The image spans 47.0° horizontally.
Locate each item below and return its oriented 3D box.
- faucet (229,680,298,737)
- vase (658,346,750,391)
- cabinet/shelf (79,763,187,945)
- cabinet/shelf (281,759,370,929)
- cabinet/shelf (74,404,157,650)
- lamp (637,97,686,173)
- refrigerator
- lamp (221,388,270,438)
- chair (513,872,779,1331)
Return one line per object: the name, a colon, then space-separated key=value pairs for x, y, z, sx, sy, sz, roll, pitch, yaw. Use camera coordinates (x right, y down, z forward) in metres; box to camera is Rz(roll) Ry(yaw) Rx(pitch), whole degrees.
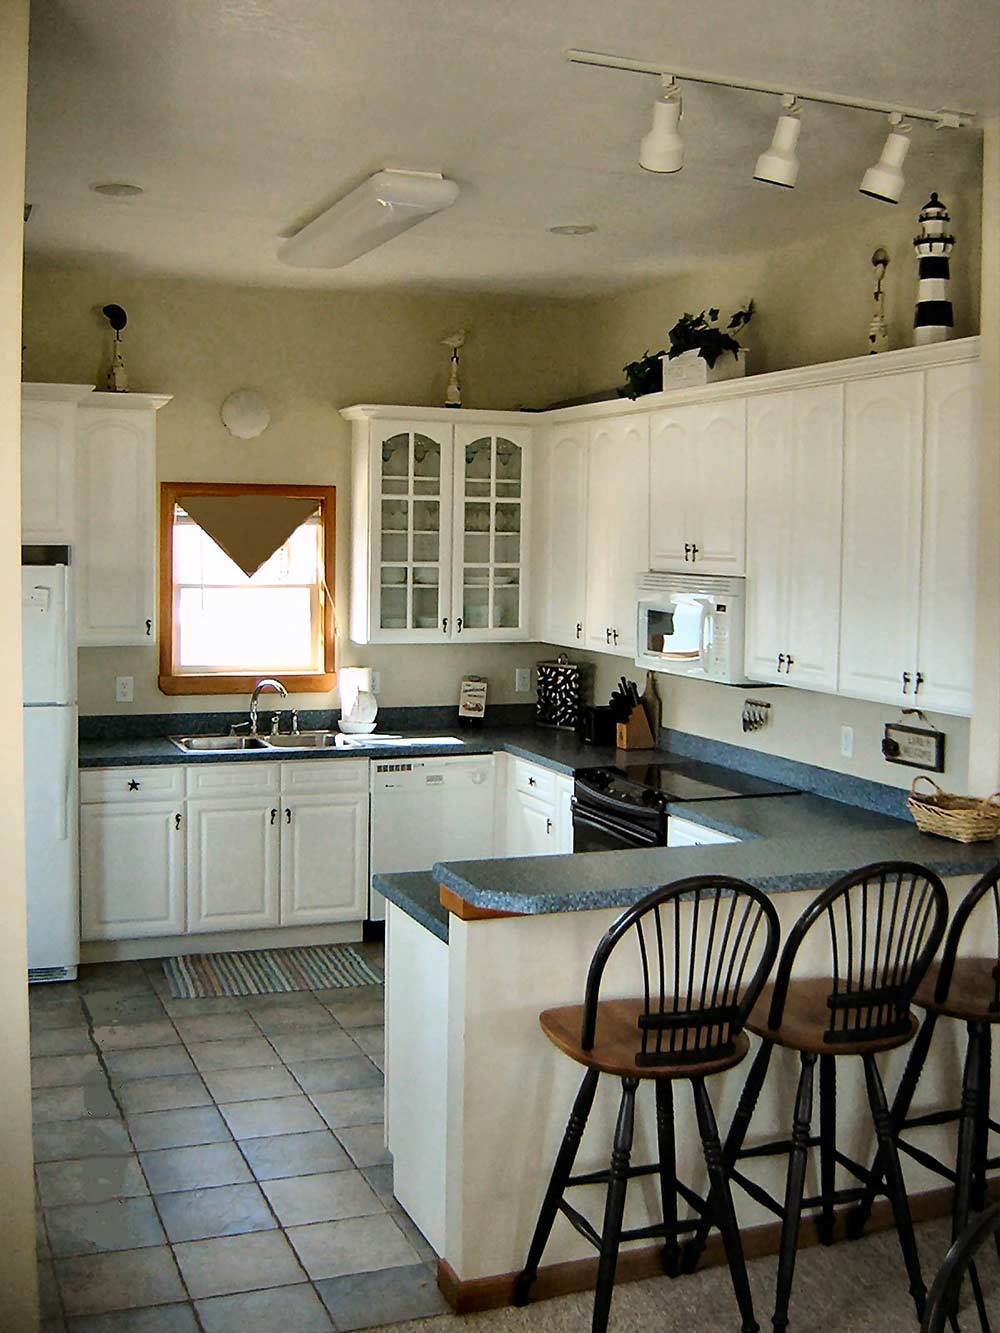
faucet: x=-1.193 y=0.211 z=5.682 sx=0.278 sy=0.257 sz=0.140 roll=-4 pitch=7 yaw=-34
vase: x=0.805 y=-1.164 z=4.545 sx=0.195 sy=0.170 sz=0.384 roll=-1 pitch=2 yaw=-23
cabinet/shelf: x=-1.633 y=0.852 z=5.164 sx=0.534 sy=0.751 sz=0.515 roll=1 pitch=-14 yaw=-24
cabinet/shelf: x=-0.896 y=0.840 z=5.443 sx=0.564 sy=0.816 sz=0.550 roll=-1 pitch=-8 yaw=-3
cabinet/shelf: x=-1.715 y=-0.659 z=5.143 sx=0.365 sy=1.111 sz=0.113 roll=-1 pitch=2 yaw=-19
lamp: x=0.370 y=-1.235 z=2.653 sx=0.086 sy=0.203 sz=0.187 roll=-1 pitch=2 yaw=7
refrigerator: x=-1.826 y=0.419 z=4.655 sx=0.202 sy=1.794 sz=0.213 roll=-1 pitch=2 yaw=-22
lamp: x=-1.242 y=-1.233 z=5.596 sx=0.238 sy=0.240 sz=0.093 roll=-1 pitch=2 yaw=-13
chair: x=0.376 y=0.895 z=2.408 sx=0.636 sy=1.013 sz=0.528 roll=-1 pitch=2 yaw=-16
